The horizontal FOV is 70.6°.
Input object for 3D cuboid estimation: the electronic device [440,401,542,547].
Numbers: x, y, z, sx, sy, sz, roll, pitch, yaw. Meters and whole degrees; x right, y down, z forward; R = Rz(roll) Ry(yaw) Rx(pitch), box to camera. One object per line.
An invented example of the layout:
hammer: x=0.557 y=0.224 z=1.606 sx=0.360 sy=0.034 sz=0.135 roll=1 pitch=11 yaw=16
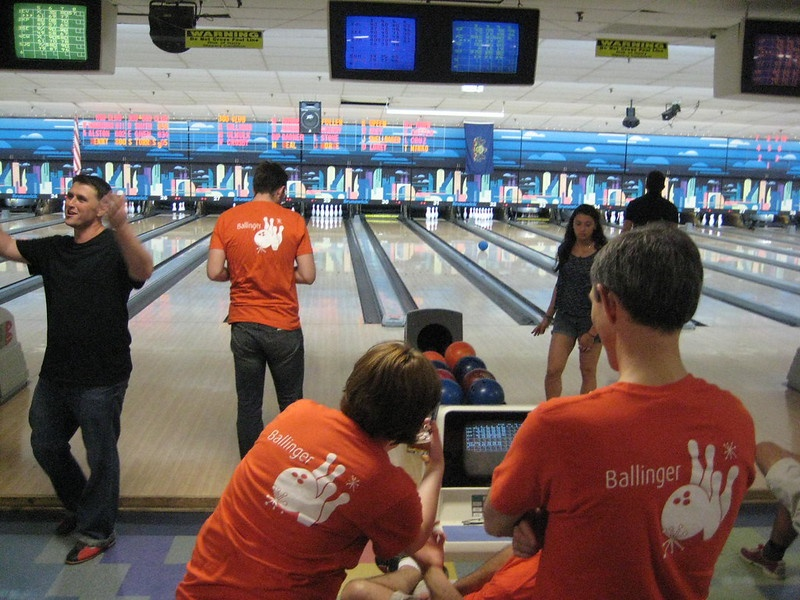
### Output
electronic device: x=0.261 y=0.618 z=2.096 sx=0.386 sy=0.553 sz=0.452 roll=0 pitch=-2 yaw=-2

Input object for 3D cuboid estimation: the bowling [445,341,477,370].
bowling: x=0.360 y=0.315 z=3.414 sx=0.152 sy=0.178 sz=0.149 roll=-5 pitch=11 yaw=-39

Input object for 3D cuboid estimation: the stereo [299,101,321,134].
stereo: x=-1.325 y=-2.727 z=8.331 sx=0.294 sy=0.437 sz=0.468 roll=-1 pitch=12 yaw=-13

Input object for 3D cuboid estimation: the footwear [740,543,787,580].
footwear: x=1.375 y=0.985 z=2.176 sx=0.065 sy=0.085 sz=0.170 roll=5 pitch=15 yaw=-32

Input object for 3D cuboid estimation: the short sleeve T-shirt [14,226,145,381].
short sleeve T-shirt: x=-1.247 y=0.022 z=2.157 sx=0.422 sy=0.572 sz=0.217 roll=3 pitch=12 yaw=10

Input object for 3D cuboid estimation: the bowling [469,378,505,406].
bowling: x=0.428 y=0.454 z=2.799 sx=0.130 sy=0.134 sz=0.153 roll=19 pitch=10 yaw=15

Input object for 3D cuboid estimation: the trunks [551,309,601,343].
trunks: x=0.957 y=0.127 z=3.033 sx=0.237 sy=0.210 sz=0.151 roll=3 pitch=-3 yaw=8

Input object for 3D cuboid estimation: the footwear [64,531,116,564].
footwear: x=-1.196 y=0.944 z=2.187 sx=0.061 sy=0.068 sz=0.171 roll=3 pitch=1 yaw=21

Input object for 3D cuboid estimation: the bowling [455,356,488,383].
bowling: x=0.392 y=0.379 z=3.191 sx=0.143 sy=0.171 sz=0.146 roll=5 pitch=16 yaw=-5

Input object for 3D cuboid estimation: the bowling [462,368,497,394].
bowling: x=0.424 y=0.422 z=2.999 sx=0.131 sy=0.130 sz=0.152 roll=2 pitch=-2 yaw=-3

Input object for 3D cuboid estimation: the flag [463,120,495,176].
flag: x=1.682 y=-3.239 z=12.043 sx=0.625 sy=0.991 sz=0.430 roll=2 pitch=12 yaw=6

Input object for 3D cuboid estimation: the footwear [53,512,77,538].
footwear: x=-1.352 y=0.915 z=2.288 sx=0.051 sy=0.061 sz=0.140 roll=30 pitch=-2 yaw=-20

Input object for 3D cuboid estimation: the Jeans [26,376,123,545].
Jeans: x=-1.260 y=0.552 z=2.227 sx=0.311 sy=0.699 sz=0.283 roll=6 pitch=7 yaw=5
